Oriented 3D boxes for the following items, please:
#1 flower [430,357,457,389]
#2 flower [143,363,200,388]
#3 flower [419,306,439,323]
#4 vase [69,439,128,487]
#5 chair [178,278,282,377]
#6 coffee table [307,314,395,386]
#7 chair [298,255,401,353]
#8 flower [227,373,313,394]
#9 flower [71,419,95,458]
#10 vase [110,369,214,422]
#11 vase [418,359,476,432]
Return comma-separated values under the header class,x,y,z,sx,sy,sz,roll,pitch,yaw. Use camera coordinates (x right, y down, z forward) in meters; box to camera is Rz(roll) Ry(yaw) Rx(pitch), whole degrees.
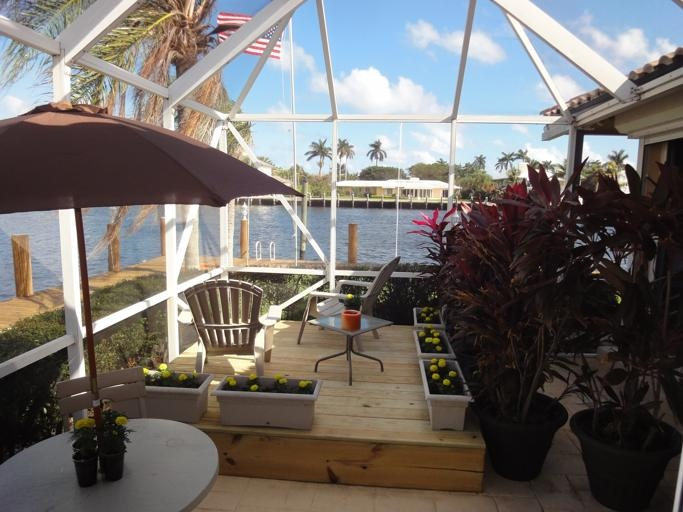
class,x,y,z,sx,sy,sz,roll,pitch,yaw
flower,0.848,1.027,4.436,0.229,0.128,0.378,12,38,-6
flower,-1.378,1.009,4.246,0.390,0.125,0.302,3,6,0
flower,1.065,0.728,6.287,0.260,0.132,0.267,2,5,10
vase,-1.240,1.088,2.659,0.297,0.197,0.187,-3,2,-30
chair,-0.951,0.672,4.479,0.939,0.994,1.113,0,-12,-14
coffee table,0.078,0.957,5.337,0.957,0.538,0.940,-5,-4,36
chair,0.059,0.516,5.977,1.097,1.015,0.871,3,7,21
flower,-0.562,1.036,4.086,0.452,0.109,0.259,1,8,4
flower,-1.340,0.945,2.697,0.121,0.147,0.119,1,-14,-9
vase,-1.359,1.093,4.068,0.627,0.237,0.391,0,5,7
vase,0.861,1.146,4.383,0.324,0.298,0.897,-2,9,5
